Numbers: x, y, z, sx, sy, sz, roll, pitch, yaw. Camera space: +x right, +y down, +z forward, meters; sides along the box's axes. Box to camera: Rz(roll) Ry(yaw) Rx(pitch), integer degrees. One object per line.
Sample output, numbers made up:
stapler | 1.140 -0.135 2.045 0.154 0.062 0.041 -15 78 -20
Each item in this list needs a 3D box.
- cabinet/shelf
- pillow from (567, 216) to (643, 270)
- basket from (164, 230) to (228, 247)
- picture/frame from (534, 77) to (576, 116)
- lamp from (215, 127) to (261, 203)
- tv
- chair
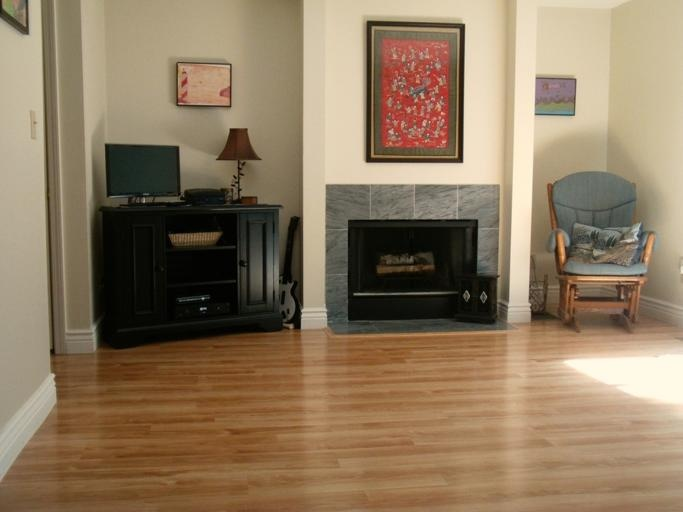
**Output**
cabinet/shelf | -1.145 0.105 4.633 1.386 1.019 0.506 -4 7 -33
pillow | 2.303 -0.125 4.965 0.530 0.147 0.544 -21 5 -13
basket | -1.097 -0.129 4.463 0.392 0.102 0.109 -5 11 -26
picture/frame | 2.027 -1.547 5.518 0.490 0.357 0.019 -2 4 -7
lamp | -0.836 -0.778 4.848 0.366 0.593 0.295 -2 10 -11
tv | -1.488 -0.620 4.381 0.529 0.423 0.216 -3 2 -35
chair | 2.197 -0.088 4.951 0.923 1.293 0.890 -1 3 -3
